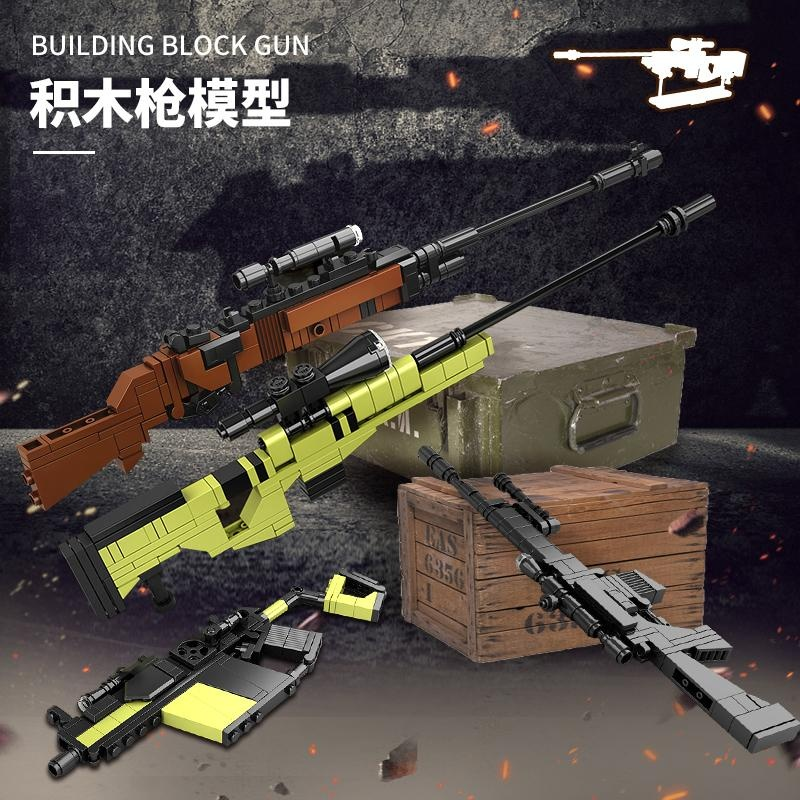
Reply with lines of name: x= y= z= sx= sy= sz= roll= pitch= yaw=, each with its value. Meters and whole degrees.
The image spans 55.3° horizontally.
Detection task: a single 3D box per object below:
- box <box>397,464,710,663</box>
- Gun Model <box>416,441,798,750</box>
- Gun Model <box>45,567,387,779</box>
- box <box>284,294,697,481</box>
box: x=0.343 y=0.337 z=1.752 sx=0.716 sy=0.337 sz=0.462 roll=-3 pitch=7 yaw=-23
Gun Model: x=0.292 y=0.317 z=1.511 sx=0.291 sy=0.078 sz=0.981 roll=-12 pitch=30 yaw=-24
Gun Model: x=-0.319 y=0.565 z=1.694 sx=0.400 sy=0.160 sz=0.846 roll=14 pitch=21 yaw=37
box: x=0.485 y=-0.042 z=2.354 sx=0.879 sy=0.287 sz=0.814 roll=-9 pitch=14 yaw=-34
